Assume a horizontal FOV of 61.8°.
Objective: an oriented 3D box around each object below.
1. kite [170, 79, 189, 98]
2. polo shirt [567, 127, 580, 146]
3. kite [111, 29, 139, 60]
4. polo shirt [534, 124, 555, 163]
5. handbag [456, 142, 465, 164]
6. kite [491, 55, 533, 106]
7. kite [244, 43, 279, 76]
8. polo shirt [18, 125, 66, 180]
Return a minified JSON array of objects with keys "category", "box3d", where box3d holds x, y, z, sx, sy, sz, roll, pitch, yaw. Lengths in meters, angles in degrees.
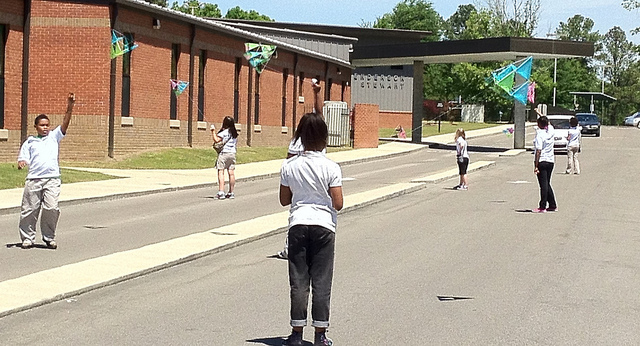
[{"category":"kite","box3d":[-9.194,-5.448,34.666,1.040,1.030,0.616,34,-10,-2]},{"category":"polo shirt","box3d":[14.660,-2.086,30.894,0.556,1.076,0.651,4,7,26]},{"category":"kite","box3d":[-11.471,-7.375,30.993,1.212,1.636,1.849,-1,7,-21]},{"category":"polo shirt","box3d":[8.224,-1.060,19.605,0.896,1.354,0.441,-1,6,-20]},{"category":"handbag","box3d":[6.738,-0.946,25.534,0.397,1.065,0.842,7,2,4]},{"category":"kite","box3d":[16.083,-7.727,44.582,2.455,3.908,6.160,4,7,25]},{"category":"kite","box3d":[-4.188,-7.974,37.501,2.433,2.167,0.467,0,11,-32]},{"category":"polo shirt","box3d":[-7.314,-0.525,14.071,1.019,1.382,0.540,-1,6,-20]}]
